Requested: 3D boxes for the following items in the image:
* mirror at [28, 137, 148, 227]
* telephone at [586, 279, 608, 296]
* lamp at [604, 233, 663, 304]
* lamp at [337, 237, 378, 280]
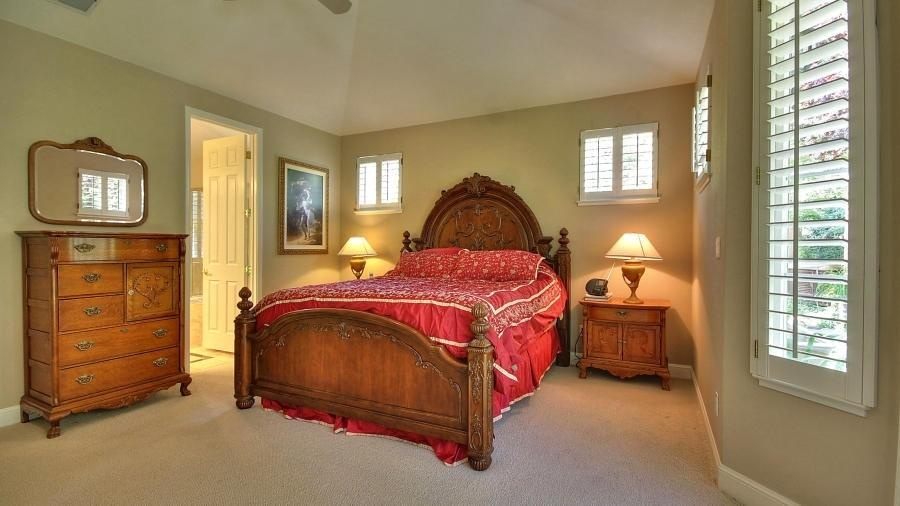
[{"bbox_3d":[-4.025,-0.781,5.823,0.112,0.965,1.104,-2,-2,43],"label":"mirror"},{"bbox_3d":[1.849,0.426,6.664,0.189,0.164,0.103,1,-26,42],"label":"telephone"},{"bbox_3d":[2.248,0.166,6.532,0.589,0.837,0.549,1,3,19],"label":"lamp"},{"bbox_3d":[-1.409,0.118,8.091,0.626,0.662,0.556,-3,-3,3],"label":"lamp"}]
